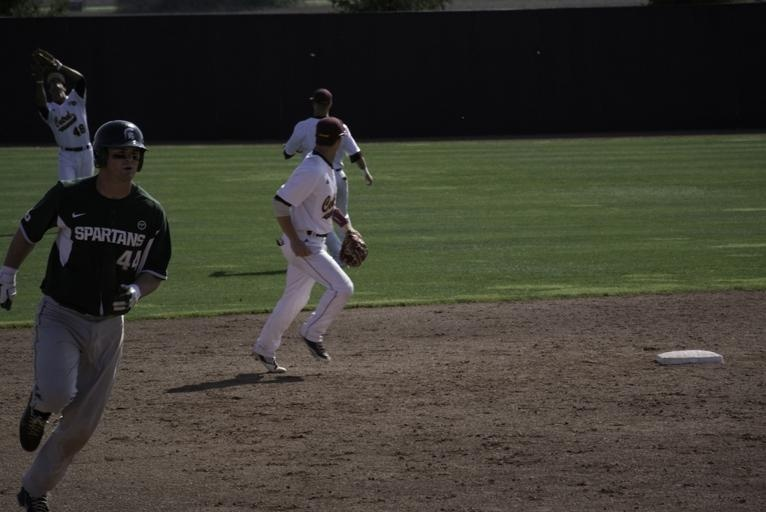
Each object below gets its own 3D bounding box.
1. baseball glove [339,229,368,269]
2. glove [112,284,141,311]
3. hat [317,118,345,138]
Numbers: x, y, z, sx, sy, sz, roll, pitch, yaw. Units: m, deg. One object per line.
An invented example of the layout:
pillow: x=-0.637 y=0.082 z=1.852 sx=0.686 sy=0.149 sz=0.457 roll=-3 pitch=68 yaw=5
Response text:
baseball glove: x=-0.395 y=-0.076 z=16.361 sx=0.483 sy=0.416 sz=0.501 roll=1 pitch=0 yaw=-2
glove: x=-2.787 y=0.479 z=13.619 sx=0.251 sy=0.299 sz=0.123 roll=23 pitch=-12 yaw=43
hat: x=-0.669 y=-1.615 z=15.776 sx=0.327 sy=0.249 sz=0.306 roll=6 pitch=9 yaw=-5
